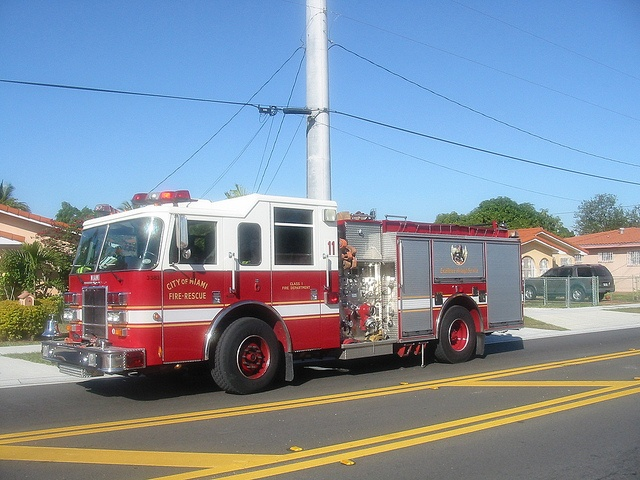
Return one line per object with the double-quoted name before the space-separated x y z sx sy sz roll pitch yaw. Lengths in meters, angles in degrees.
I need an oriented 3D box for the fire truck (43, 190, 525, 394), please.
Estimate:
"fire truck" 0.096 1.070 12.307 11.213 3.699 2.995 2 -3 -35
